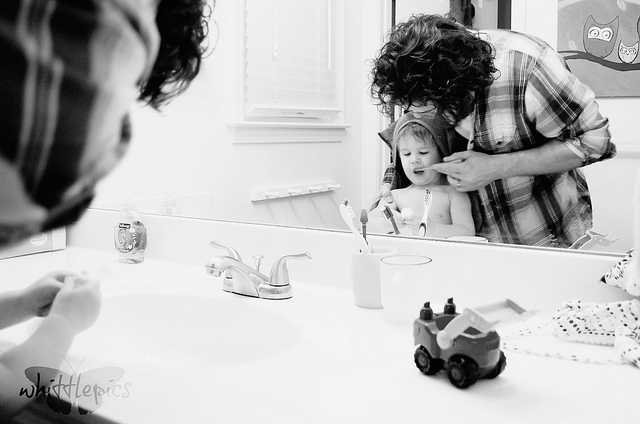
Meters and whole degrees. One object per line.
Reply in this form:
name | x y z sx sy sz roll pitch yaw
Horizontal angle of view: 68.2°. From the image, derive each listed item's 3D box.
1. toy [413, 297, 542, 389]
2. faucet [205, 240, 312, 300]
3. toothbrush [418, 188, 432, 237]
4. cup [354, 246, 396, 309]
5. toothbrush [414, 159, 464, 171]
toy | 0.232 0.198 0.737 0.125 0.145 0.160 -1 9 -24
faucet | -0.175 0.147 1.091 0.279 0.115 0.196 4 6 27
toothbrush | 0.234 0.001 1.059 0.017 0.111 0.024 1 9 -13
cup | 0.106 0.148 1.083 0.098 0.122 0.115 -1 1 -1
toothbrush | 0.258 -0.102 1.018 0.071 0.008 0.011 -16 -31 31
